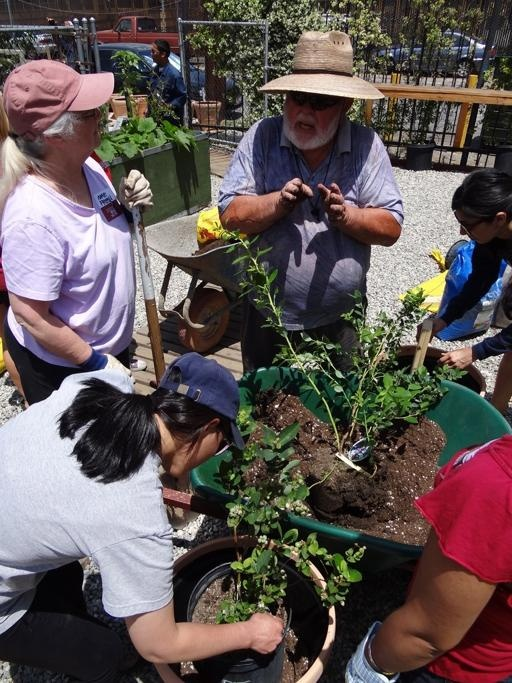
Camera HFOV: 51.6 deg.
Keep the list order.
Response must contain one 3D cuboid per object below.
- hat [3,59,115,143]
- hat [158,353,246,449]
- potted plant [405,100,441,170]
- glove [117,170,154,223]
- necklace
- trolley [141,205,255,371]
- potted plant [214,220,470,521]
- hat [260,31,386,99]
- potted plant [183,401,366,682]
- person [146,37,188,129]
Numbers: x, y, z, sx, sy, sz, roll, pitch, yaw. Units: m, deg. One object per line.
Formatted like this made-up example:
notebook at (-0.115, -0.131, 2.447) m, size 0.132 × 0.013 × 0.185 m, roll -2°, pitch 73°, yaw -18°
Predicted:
hat at (-0.560, -0.729, 1.653) m, size 0.342 × 0.145 × 0.208 m, roll -18°, pitch 57°, yaw -5°
hat at (-0.108, 0.135, 1.249) m, size 0.114 × 0.206 × 0.142 m, roll -59°, pitch 27°, yaw -11°
potted plant at (2.585, -3.220, 8.248) m, size 0.446 × 0.950 × 1.064 m, roll 11°, pitch 30°, yaw 13°
glove at (-0.465, -0.568, 2.077) m, size 0.128 × 0.165 × 0.084 m, roll -24°, pitch 14°, yaw -1°
necklace at (0.204, -0.592, 1.982) m, size 0.163 × 0.326 × 0.081 m, roll 5°, pitch 3°, yaw 0°
trolley at (-0.286, -0.459, 3.554) m, size 0.749 × 0.694 × 1.087 m, roll 9°, pitch 41°, yaw 24°
potted plant at (0.354, 0.201, 2.135) m, size 1.128 × 0.903 × 0.959 m, roll -4°, pitch 30°, yaw 8°
hat at (0.249, -1.017, 1.939) m, size 0.448 × 0.217 × 0.442 m, roll 3°, pitch 28°, yaw -1°
potted plant at (0.097, 0.458, 1.591) m, size 0.428 × 0.316 × 0.875 m, roll 24°, pitch 71°, yaw 4°
person at (-1.180, -3.444, 7.103) m, size 0.462 × 1.030 × 1.073 m, roll -2°, pitch 30°, yaw -10°
